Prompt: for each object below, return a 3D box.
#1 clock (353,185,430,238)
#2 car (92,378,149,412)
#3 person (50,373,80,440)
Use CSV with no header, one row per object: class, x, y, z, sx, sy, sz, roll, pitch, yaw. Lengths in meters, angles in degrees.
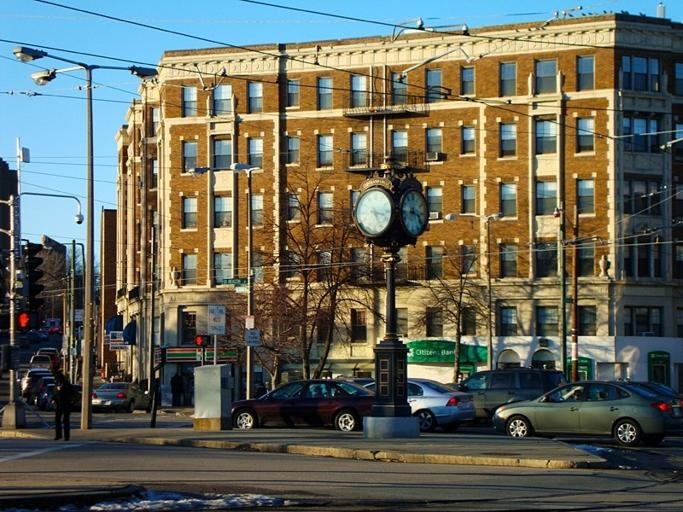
clock,1.940,-1.555,68.297,2.428,2.191,1.871,4,-10,-33
car,-10.940,6.979,89.199,2.345,1.469,2.188,2,-5,-27
person,-10.552,5.693,68.480,1.055,2.295,0.816,7,-9,-38
